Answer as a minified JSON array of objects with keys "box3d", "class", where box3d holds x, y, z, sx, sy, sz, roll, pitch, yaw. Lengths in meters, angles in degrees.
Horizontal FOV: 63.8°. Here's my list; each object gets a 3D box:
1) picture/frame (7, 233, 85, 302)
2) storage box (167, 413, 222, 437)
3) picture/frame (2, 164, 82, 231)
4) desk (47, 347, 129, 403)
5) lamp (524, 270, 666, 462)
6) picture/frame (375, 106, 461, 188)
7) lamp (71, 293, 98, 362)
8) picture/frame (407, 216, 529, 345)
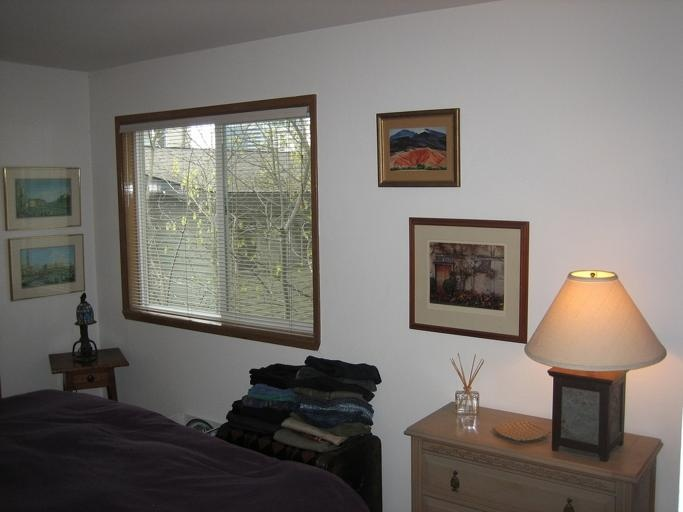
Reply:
[{"box3d":[-2.463,0.091,4.493,0.059,0.459,0.556,3,7,44],"class":"picture/frame"},{"box3d":[-1.061,1.202,4.020,0.414,0.131,0.411,7,-1,-26],"class":"storage box"},{"box3d":[-2.473,-0.475,4.450,0.051,0.450,0.530,9,13,44],"class":"picture/frame"},{"box3d":[-2.070,1.114,4.493,0.535,0.604,0.544,-2,10,-26],"class":"desk"},{"box3d":[1.200,0.508,2.634,0.635,0.810,0.621,1,5,29],"class":"lamp"},{"box3d":[0.462,-0.635,3.171,0.497,0.409,0.041,3,9,30],"class":"picture/frame"},{"box3d":[-2.097,0.583,4.446,0.215,0.531,0.188,2,-7,-38],"class":"lamp"},{"box3d":[0.737,0.123,3.069,0.745,0.692,0.031,2,4,32],"class":"picture/frame"}]
